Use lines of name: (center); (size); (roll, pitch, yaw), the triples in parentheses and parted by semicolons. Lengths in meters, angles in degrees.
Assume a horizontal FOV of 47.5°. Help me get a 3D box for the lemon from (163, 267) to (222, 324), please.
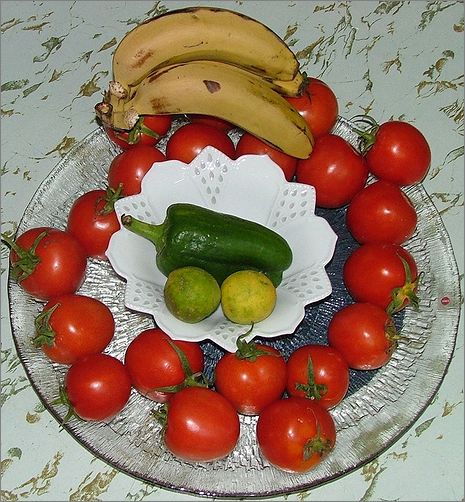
lemon: (-0.059, 0.080, 0.968); (0.111, 0.105, 0.092); (0, 91, 6)

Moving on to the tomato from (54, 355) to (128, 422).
tomato: (-0.261, 0.254, 0.971); (0.094, 0.091, 0.102); (40, 80, -33)

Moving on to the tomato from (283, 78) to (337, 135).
tomato: (0.186, -0.301, 1.147); (0.145, 0.130, 0.113); (4, 98, 17)

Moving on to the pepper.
pepper: (-0.049, -0.019, 1.033); (0.353, 0.151, 0.113); (9, 118, -4)

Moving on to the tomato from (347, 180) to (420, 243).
tomato: (0.295, -0.082, 1.099); (0.153, 0.135, 0.121); (2, 96, 8)

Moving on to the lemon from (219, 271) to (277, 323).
lemon: (0.037, 0.079, 0.929); (0.114, 0.054, 0.087); (0, 87, -7)

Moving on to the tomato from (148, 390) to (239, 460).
tomato: (-0.054, 0.315, 0.981); (0.154, 0.133, 0.120); (-13, 45, 8)

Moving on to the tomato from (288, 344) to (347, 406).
tomato: (0.161, 0.228, 0.967); (0.131, 0.117, 0.101); (-1, 103, 10)
